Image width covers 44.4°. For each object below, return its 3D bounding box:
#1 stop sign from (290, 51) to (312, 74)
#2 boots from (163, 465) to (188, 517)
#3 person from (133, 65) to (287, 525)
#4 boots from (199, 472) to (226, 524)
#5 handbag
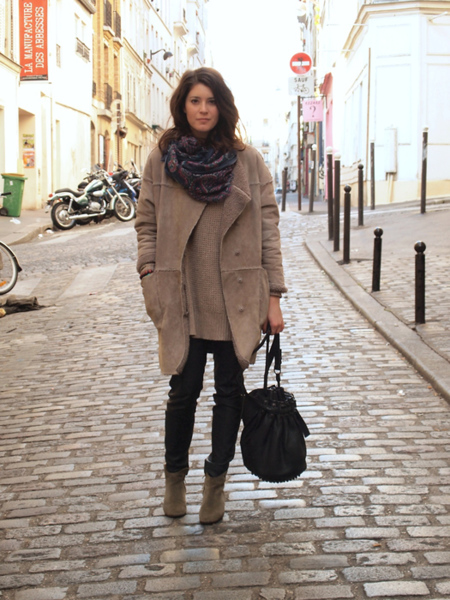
[{"bbox_3d":[3.133,-9.837,23.018,0.641,0.822,1.069,-4,1,-26],"label":"stop sign"},{"bbox_3d":[-0.196,0.747,2.187,0.083,0.160,0.230,-2,5,-2],"label":"boots"},{"bbox_3d":[-0.057,-0.013,2.064,0.560,1.476,0.307,-3,1,6],"label":"person"},{"bbox_3d":[-0.040,0.738,2.104,0.075,0.152,0.220,-2,7,11],"label":"boots"},{"bbox_3d":[0.191,0.475,1.990,0.244,0.325,0.197,-4,18,-9],"label":"handbag"}]
